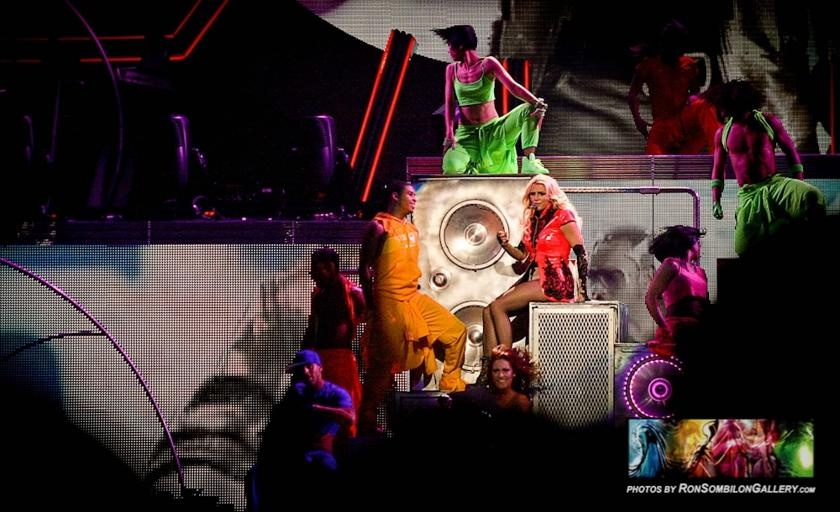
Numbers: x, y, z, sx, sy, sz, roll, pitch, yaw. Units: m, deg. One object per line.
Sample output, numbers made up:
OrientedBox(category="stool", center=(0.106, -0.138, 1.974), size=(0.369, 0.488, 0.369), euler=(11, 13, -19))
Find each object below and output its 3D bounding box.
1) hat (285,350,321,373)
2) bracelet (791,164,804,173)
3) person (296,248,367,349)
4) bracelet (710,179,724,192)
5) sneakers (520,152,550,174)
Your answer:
OrientedBox(category="hat", center=(-1.104, 0.977, 10.363), size=(0.290, 0.196, 0.150), euler=(-5, 86, -7))
OrientedBox(category="bracelet", center=(3.569, -0.844, 10.418), size=(0.088, 0.076, 0.062), euler=(-1, 90, 6))
OrientedBox(category="person", center=(-0.864, 0.410, 10.895), size=(0.710, 0.914, 1.196), euler=(3, 86, -20))
OrientedBox(category="bracelet", center=(2.812, -0.693, 10.423), size=(0.106, 0.101, 0.078), euler=(1, 89, -12))
OrientedBox(category="sneakers", center=(1.091, -0.885, 10.414), size=(0.256, 0.142, 0.189), euler=(2, 86, -2))
